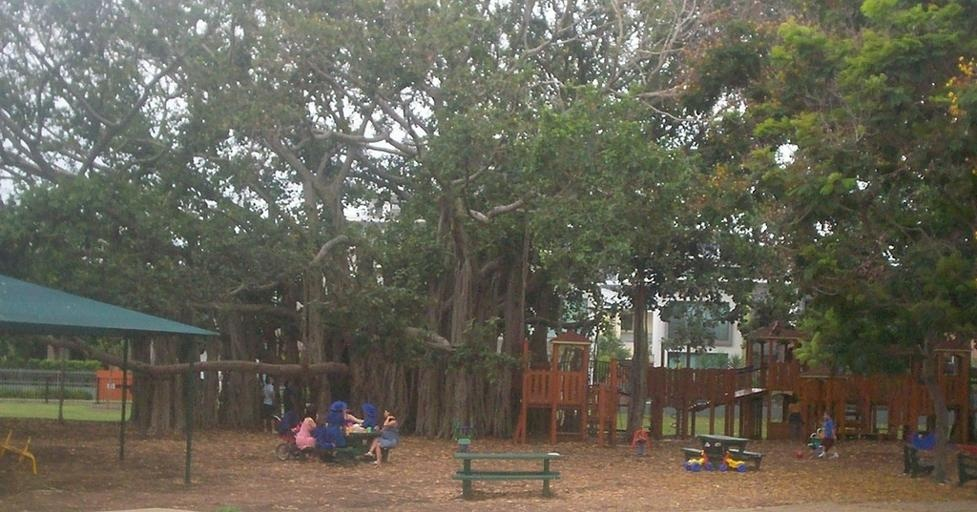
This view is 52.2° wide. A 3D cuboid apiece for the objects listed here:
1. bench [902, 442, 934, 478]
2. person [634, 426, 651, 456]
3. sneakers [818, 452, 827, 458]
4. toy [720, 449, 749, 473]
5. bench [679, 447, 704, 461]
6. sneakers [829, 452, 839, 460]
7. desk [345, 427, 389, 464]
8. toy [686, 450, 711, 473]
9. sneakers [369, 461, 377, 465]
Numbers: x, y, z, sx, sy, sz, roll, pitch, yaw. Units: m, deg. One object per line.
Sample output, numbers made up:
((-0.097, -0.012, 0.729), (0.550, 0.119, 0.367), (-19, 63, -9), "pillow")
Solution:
((13.060, 6.225, 30.532), (0.941, 1.120, 0.874), (0, 0, -21), "bench")
((5.306, 6.489, 34.799), (0.808, 1.074, 0.746), (1, -9, -1), "person")
((11.372, 6.801, 34.102), (0.185, 0.082, 0.236), (-4, 1, 5), "sneakers")
((7.644, 6.452, 31.307), (0.748, 0.721, 0.681), (-5, -18, 21), "toy")
((6.482, 6.339, 32.043), (0.763, 0.671, 0.587), (0, -9, 5), "bench")
((11.745, 6.816, 34.062), (0.174, 0.239, 0.616), (9, 2, 11), "sneakers")
((-4.017, 5.983, 31.557), (1.070, 0.626, 1.040), (1, -2, -19), "desk")
((6.602, 6.503, 31.467), (0.566, 0.588, 0.724), (-6, -13, 20), "toy")
((-3.662, 6.490, 31.406), (0.284, 0.116, 0.267), (0, -17, 4), "sneakers")
